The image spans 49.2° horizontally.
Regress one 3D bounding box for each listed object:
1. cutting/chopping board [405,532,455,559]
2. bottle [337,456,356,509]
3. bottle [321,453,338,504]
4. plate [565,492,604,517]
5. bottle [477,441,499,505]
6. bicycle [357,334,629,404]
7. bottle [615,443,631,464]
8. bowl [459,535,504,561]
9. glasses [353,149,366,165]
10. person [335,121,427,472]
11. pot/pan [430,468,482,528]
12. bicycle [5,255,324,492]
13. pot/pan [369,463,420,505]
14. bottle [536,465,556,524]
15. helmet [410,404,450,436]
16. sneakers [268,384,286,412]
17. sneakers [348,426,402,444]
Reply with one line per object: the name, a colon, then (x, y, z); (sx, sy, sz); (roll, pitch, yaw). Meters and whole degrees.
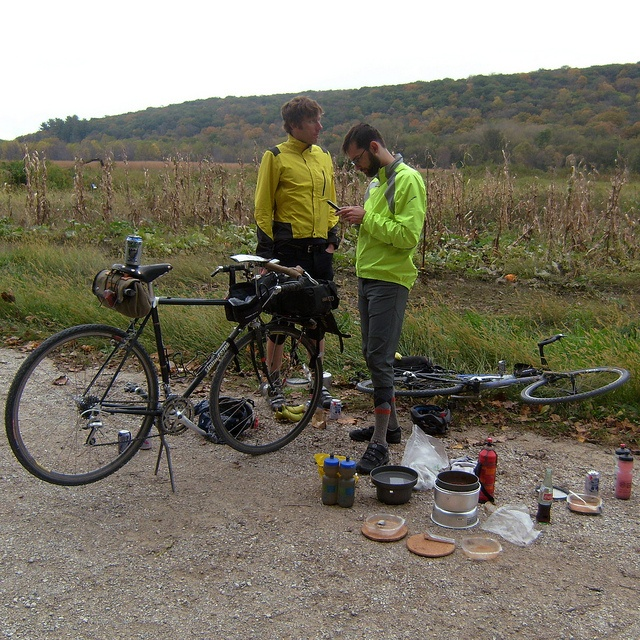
cutting/chopping board: (0.554, 1.142, 3.539); (0.231, 0.034, 0.188); (9, 16, 27)
bottle: (0.152, 0.918, 3.967); (0.096, 0.255, 0.144); (2, 15, 2)
bottle: (0.062, 0.911, 3.982); (0.092, 0.246, 0.148); (2, 15, 2)
plate: (1.512, 1.052, 4.006); (0.188, 0.044, 0.193); (7, 15, 20)
bottle: (0.963, 0.859, 4.064); (0.123, 0.365, 0.300); (5, 15, 14)
bicycle: (1.324, 0.483, 5.461); (1.674, 0.709, 0.932); (-3, -5, 15)
bottle: (1.787, 0.802, 4.142); (0.087, 0.125, 0.084); (1, -3, 0)
bowl: (0.816, 1.151, 3.529); (0.201, 0.030, 0.183); (1, 14, 1)
glasses: (0.242, -1.020, 4.368); (0.021, 0.067, 0.066); (30, -10, -12)
person: (0.383, -0.135, 4.405); (0.548, 2.142, 0.783); (-1, 15, -10)
pot/pan: (0.756, 0.960, 3.863); (0.269, 0.259, 0.268); (-3, 6, -32)
bicycle: (-1.045, 0.234, 4.546); (2.212, 1.371, 1.348); (-11, 19, -40)
pot/pan: (0.433, 0.957, 4.076); (0.281, 0.150, 0.319); (10, 16, 31)
bottle: (1.240, 0.957, 3.842); (0.077, 0.282, 0.160); (6, 15, 18)
helmet: (0.777, 0.702, 5.015); (0.211, 0.114, 0.217); (-2, 10, -37)
sneakers: (-0.287, 0.523, 4.696); (0.086, 0.178, 0.177); (-1, 24, -8)
sneakers: (0.376, 0.795, 4.863); (0.367, 0.133, 0.129); (3, 0, 2)
